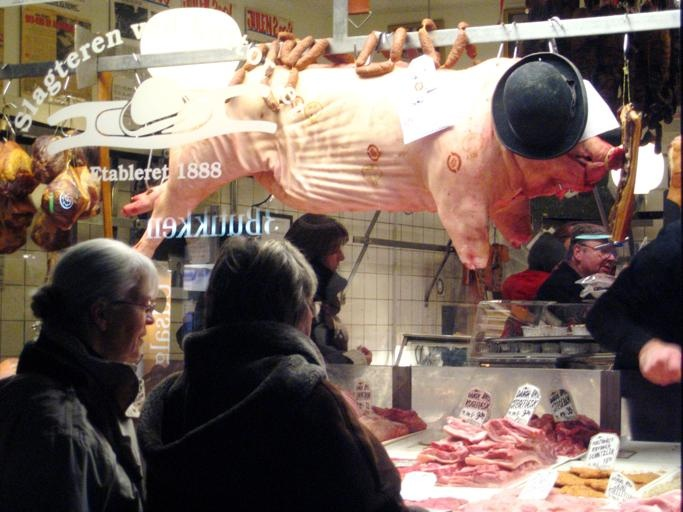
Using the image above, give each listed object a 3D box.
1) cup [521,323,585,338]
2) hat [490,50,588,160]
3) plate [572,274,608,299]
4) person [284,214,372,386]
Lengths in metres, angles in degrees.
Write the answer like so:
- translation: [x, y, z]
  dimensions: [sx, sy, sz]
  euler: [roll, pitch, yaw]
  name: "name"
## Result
- translation: [0.832, 0.291, 3.140]
  dimensions: [0.246, 0.047, 0.050]
  euler: [0, 0, 10]
  name: "cup"
- translation: [0.750, -0.581, 3.042]
  dimensions: [0.357, 0.385, 0.151]
  euler: [0, 0, 14]
  name: "hat"
- translation: [0.968, 0.113, 3.066]
  dimensions: [0.097, 0.041, 0.104]
  euler: [-7, -2, -41]
  name: "plate"
- translation: [-0.104, 0.268, 3.361]
  dimensions: [0.422, 0.881, 0.351]
  euler: [1, 4, -8]
  name: "person"
